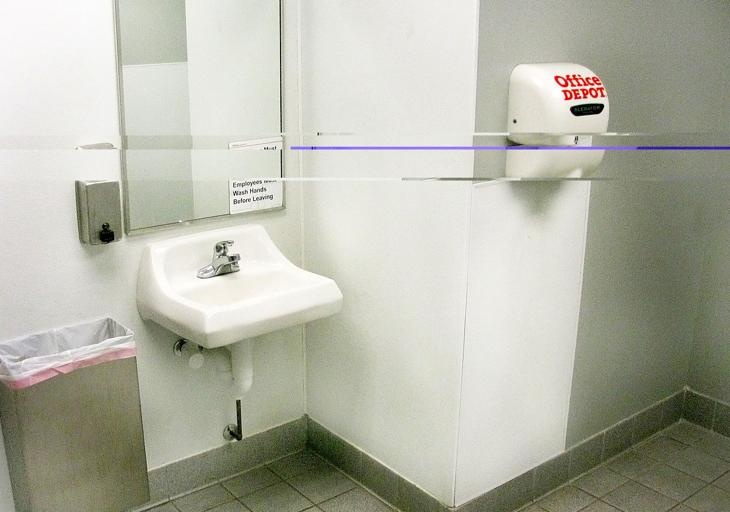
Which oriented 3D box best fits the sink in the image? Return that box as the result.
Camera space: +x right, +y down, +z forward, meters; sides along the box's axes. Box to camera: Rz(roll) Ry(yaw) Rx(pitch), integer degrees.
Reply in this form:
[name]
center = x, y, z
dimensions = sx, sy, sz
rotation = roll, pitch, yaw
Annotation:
[sink]
center = -0.396, 0.105, 1.792
dimensions = 0.489, 0.210, 0.436
rotation = -14, 24, -39
